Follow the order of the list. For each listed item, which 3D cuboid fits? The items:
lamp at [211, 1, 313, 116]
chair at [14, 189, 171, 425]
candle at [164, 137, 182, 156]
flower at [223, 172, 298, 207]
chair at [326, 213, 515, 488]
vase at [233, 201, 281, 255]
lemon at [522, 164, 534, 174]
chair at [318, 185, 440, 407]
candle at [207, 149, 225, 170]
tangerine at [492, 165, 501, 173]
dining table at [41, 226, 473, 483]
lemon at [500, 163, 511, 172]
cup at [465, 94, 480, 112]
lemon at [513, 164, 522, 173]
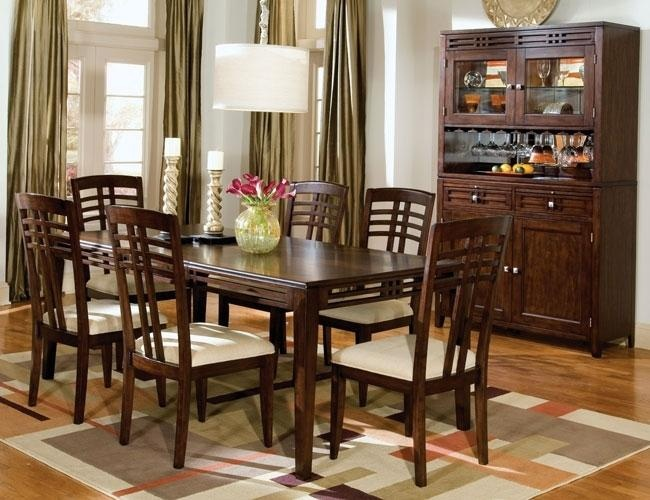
[{"bbox_3d":[-0.321,-0.968,2.991,0.478,0.467,0.446,1,4,1],"label":"lamp"},{"bbox_3d":[-1.232,0.281,2.963,0.756,1.082,0.684,0,3,-37],"label":"chair"},{"bbox_3d":[-0.910,-0.587,3.179,0.072,0.109,0.174,0,5,-21],"label":"candle"},{"bbox_3d":[-0.387,-0.299,2.906,0.388,0.168,0.427,-1,1,-27],"label":"flower"},{"bbox_3d":[0.589,0.354,2.643,0.655,1.050,1.489,4,5,28],"label":"chair"},{"bbox_3d":[-0.301,-0.119,2.841,0.262,0.228,0.249,1,4,36],"label":"vase"},{"bbox_3d":[1.657,-0.642,4.420,0.096,0.067,0.073,-1,17,-40],"label":"lemon"},{"bbox_3d":[0.321,0.225,3.342,0.704,1.028,0.727,21,-30,-34],"label":"chair"},{"bbox_3d":[-0.636,-0.501,3.086,0.076,0.125,0.187,0,5,-15],"label":"candle"},{"bbox_3d":[1.419,-0.660,4.504,0.065,0.059,0.065,6,12,31],"label":"tangerine"},{"bbox_3d":[-0.020,0.213,2.620,0.994,0.792,1.799,-5,8,-40],"label":"dining table"},{"bbox_3d":[1.497,-0.667,4.490,0.067,0.059,0.080,4,26,16],"label":"lemon"},{"bbox_3d":[1.208,-1.191,4.458,0.139,0.168,0.155,3,4,15],"label":"cup"},{"bbox_3d":[1.584,-0.653,4.409,0.068,0.073,0.067,8,15,31],"label":"lemon"}]
